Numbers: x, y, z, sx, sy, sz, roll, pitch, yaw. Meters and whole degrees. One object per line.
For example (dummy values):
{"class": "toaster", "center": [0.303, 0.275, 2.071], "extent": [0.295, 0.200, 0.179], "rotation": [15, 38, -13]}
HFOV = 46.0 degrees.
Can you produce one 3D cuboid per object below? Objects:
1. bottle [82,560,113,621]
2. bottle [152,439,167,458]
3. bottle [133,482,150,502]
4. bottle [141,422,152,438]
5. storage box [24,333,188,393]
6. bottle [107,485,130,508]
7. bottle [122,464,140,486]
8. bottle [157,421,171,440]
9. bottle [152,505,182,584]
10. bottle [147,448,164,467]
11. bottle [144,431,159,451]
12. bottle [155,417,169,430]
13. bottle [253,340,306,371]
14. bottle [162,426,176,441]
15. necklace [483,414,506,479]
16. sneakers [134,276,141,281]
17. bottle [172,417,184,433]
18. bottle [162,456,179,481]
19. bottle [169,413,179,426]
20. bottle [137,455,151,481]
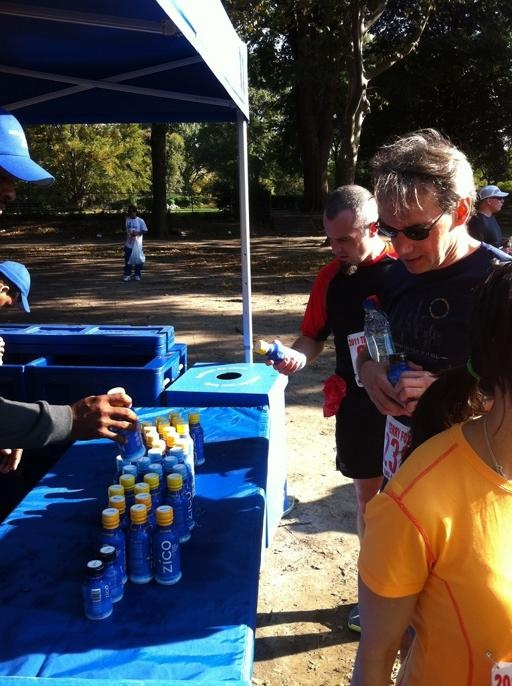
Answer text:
{"class": "bottle", "center": [-0.435, 0.671, 1.648], "extent": [0.080, 0.142, 0.099], "rotation": [-5, 13, -18]}
{"class": "bottle", "center": [-0.356, 0.395, 2.230], "extent": [0.055, 0.046, 0.053], "rotation": [0, 12, -6]}
{"class": "bottle", "center": [-0.363, 0.468, 1.878], "extent": [0.044, 0.038, 0.042], "rotation": [0, 12, -9]}
{"class": "bottle", "center": [-0.443, 0.356, 2.439], "extent": [0.055, 0.057, 0.053], "rotation": [-1, 1, -36]}
{"class": "storage box", "center": [-0.987, 0.202, 4.078], "extent": [0.599, 0.352, 0.579], "rotation": [1, 11, 8]}
{"class": "bottle", "center": [-0.443, 0.493, 1.931], "extent": [0.051, 0.045, 0.049], "rotation": [-4, 8, -36]}
{"class": "bottle", "center": [-0.411, 0.450, 2.014], "extent": [0.051, 0.064, 0.069], "rotation": [0, -2, -9]}
{"class": "bottle", "center": [-0.365, 0.349, 2.406], "extent": [0.052, 0.046, 0.051], "rotation": [3, 8, 27]}
{"class": "bottle", "center": [-0.267, 0.603, 1.801], "extent": [0.082, 0.210, 0.109], "rotation": [-2, 12, -8]}
{"class": "bottle", "center": [-0.363, 0.418, 2.178], "extent": [0.048, 0.042, 0.048], "rotation": [4, 9, 36]}
{"class": "bottle", "center": [-0.400, 0.380, 2.316], "extent": [0.063, 0.066, 0.064], "rotation": [1, 8, 10]}
{"class": "bottle", "center": [-0.385, 0.333, 2.476], "extent": [0.047, 0.077, 0.045], "rotation": [5, 26, -2]}
{"class": "bottle", "center": [0.112, 0.079, 2.930], "extent": [0.104, 0.123, 0.341], "rotation": [43, 12, 22]}
{"class": "bottle", "center": [-0.341, 0.359, 2.359], "extent": [0.049, 0.042, 0.047], "rotation": [0, 5, -2]}
{"class": "necklace", "center": [0.419, 0.198, 1.063], "extent": [0.018, 0.069, 0.047], "rotation": [-5, -1, 34]}
{"class": "sneakers", "center": [-3.170, -1.712, 16.148], "extent": [0.174, 0.158, 0.077], "rotation": [-3, 30, -11]}
{"class": "bottle", "center": [-0.319, 0.342, 2.466], "extent": [0.045, 0.042, 0.042], "rotation": [-4, 2, -5]}
{"class": "bottle", "center": [-0.304, 0.442, 2.099], "extent": [0.064, 0.096, 0.062], "rotation": [3, 5, 0]}
{"class": "bottle", "center": [-0.343, 0.324, 2.551], "extent": [0.042, 0.050, 0.073], "rotation": [4, 9, 5]}
{"class": "bottle", "center": [-0.397, 0.445, 2.127], "extent": [0.069, 0.067, 0.065], "rotation": [2, 10, 5]}
